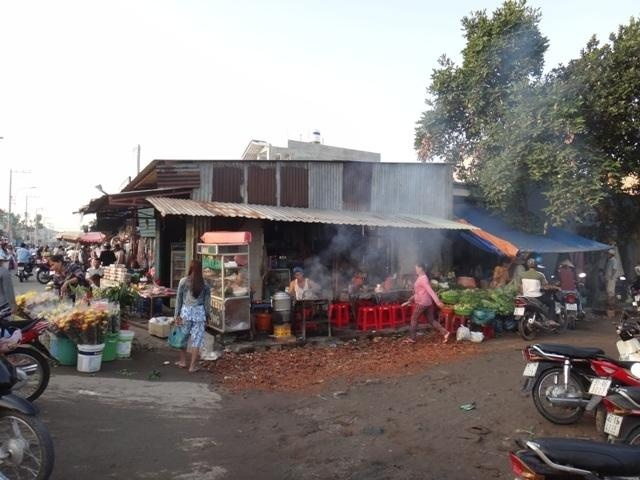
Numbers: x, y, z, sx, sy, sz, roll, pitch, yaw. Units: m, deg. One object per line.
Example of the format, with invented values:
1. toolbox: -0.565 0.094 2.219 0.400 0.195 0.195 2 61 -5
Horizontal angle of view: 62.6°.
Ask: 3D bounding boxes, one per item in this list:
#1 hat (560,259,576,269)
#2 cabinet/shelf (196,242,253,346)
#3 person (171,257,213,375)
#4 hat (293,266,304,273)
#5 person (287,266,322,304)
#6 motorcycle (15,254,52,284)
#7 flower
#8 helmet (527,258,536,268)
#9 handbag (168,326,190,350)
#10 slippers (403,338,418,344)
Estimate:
1. hat: 6.852 0.630 14.759 0.481 0.162 0.452 1 3 5
2. cabinet/shelf: -2.065 1.216 11.443 0.892 2.374 2.081 1 -4 -22
3. person: -2.424 1.410 10.055 0.648 2.101 0.755 -4 9 -34
4. hat: -0.511 0.692 12.709 0.159 0.127 0.152 5 -7 -26
5. person: -0.375 1.066 12.859 0.764 0.870 1.677 1 7 0
6. motorcycle: -13.207 1.308 24.326 1.168 1.427 2.175 0 4 -7
7. flower: -4.450 1.375 9.749 1.908 1.064 0.870 14 -15 -26
8. helmet: 5.398 0.541 13.476 0.232 0.256 0.279 -1 -13 -12
9. handbag: -2.683 1.833 9.949 0.394 0.443 0.159 3 8 9
10. slippers: 2.083 2.380 12.426 0.125 0.151 0.369 -1 -3 -45
